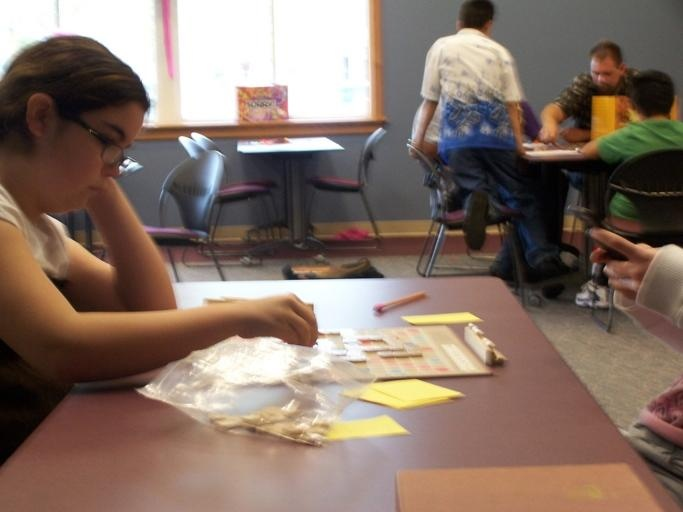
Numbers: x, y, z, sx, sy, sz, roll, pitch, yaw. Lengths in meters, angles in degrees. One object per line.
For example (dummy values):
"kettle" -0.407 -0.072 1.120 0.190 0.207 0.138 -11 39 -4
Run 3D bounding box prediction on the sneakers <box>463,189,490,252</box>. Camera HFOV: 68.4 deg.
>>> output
"sneakers" 0.868 -0.232 3.316 0.134 0.415 0.173 2 3 -8

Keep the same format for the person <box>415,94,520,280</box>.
"person" 0.741 -0.677 4.124 1.019 1.608 1.001 -1 15 6
